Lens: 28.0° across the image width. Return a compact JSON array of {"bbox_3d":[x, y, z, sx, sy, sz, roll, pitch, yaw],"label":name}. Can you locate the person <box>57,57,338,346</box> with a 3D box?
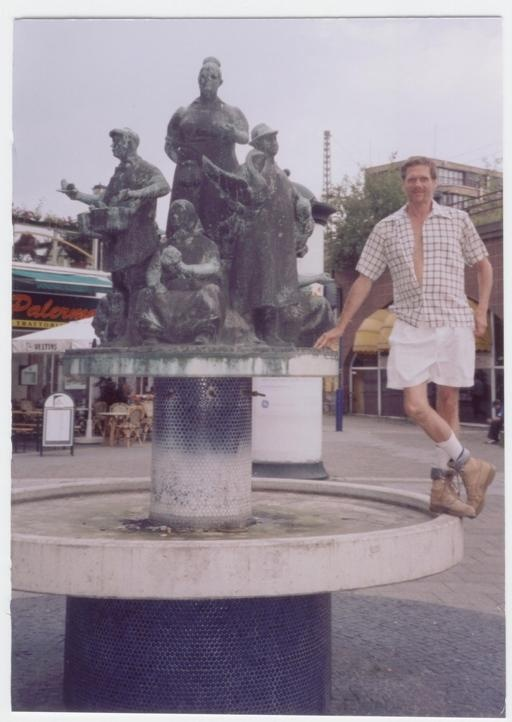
[{"bbox_3d":[-0.223,-0.544,4.526,1.065,1.272,0.574,0,-1,-2],"label":"person"}]

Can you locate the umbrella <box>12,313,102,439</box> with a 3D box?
[{"bbox_3d":[-3.172,0.295,16.182,1.933,2.080,1.828,0,-3,-7],"label":"umbrella"}]

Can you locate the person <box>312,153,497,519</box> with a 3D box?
[{"bbox_3d":[0.733,-0.112,4.500,0.753,1.571,0.479,6,1,5],"label":"person"}]
